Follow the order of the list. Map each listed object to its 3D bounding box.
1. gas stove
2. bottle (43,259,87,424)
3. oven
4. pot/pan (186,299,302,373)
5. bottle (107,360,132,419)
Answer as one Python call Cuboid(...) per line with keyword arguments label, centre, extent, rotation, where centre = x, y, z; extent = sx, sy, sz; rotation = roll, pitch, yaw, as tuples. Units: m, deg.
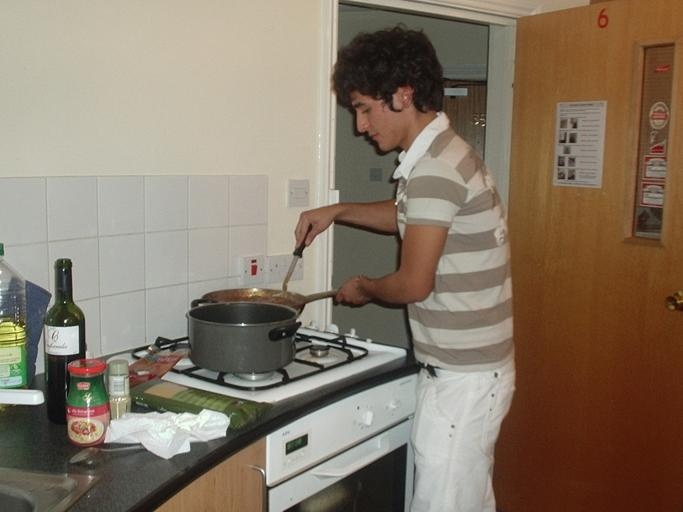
Cuboid(label="gas stove", centre=(-0.157, 0.340, 1.676), extent=(0.414, 0.056, 0.446), rotation=(-12, -3, -39))
Cuboid(label="bottle", centre=(-0.673, 0.191, 1.278), extent=(0.101, 0.386, 0.165), rotation=(-10, 18, -41))
Cuboid(label="oven", centre=(0.013, 0.513, 1.492), extent=(0.368, 0.398, 0.265), rotation=(-7, 8, -43))
Cuboid(label="pot/pan", centre=(-0.246, 0.153, 1.446), extent=(0.242, 0.100, 0.206), rotation=(8, 10, 36))
Cuboid(label="bottle", centre=(-0.527, 0.299, 1.255), extent=(0.049, 0.126, 0.160), rotation=(-4, 16, -24))
